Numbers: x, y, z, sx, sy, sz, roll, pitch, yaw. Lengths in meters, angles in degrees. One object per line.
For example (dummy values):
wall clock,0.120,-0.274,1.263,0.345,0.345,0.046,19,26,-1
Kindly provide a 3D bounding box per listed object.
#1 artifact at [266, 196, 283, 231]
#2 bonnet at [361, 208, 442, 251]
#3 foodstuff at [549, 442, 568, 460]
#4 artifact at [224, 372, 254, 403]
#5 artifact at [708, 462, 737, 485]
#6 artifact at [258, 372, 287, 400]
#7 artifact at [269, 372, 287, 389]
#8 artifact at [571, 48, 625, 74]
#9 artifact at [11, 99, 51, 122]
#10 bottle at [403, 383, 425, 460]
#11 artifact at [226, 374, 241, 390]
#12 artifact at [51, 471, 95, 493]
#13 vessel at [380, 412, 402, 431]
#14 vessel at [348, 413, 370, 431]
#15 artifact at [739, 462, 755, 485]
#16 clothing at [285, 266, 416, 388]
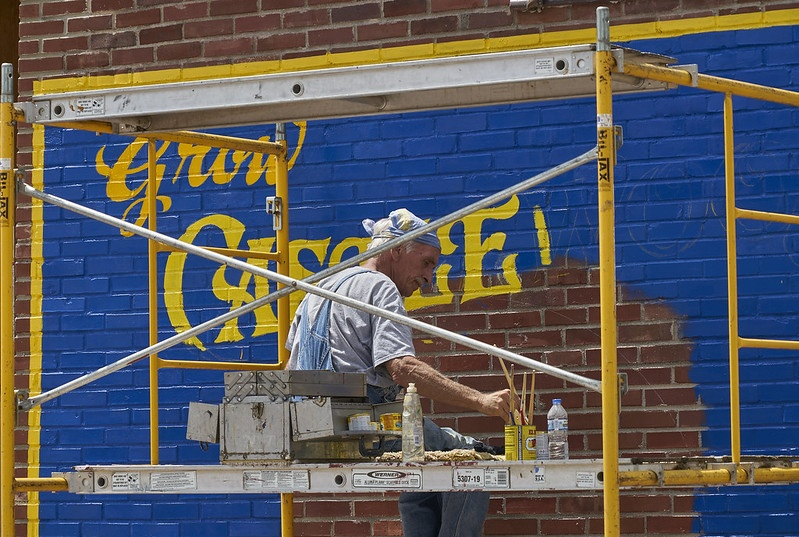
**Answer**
artifact,-0.826,-0.373,18.155,0.106,0.222,0.186,1,-8,-3
bonnet,-0.006,-0.260,17.585,0.391,0.192,0.283,-12,-21,-10
foodstuff,0.978,1.079,16.553,0.140,0.123,0.098,1,-12,5
artifact,-0.976,0.696,16.691,0.203,0.170,0.169,-7,0,26
artifact,1.953,1.212,16.522,0.139,0.109,0.051,2,-10,-3
artifact,-0.775,0.693,16.624,0.179,0.151,0.047,4,3,23
artifact,-0.731,0.658,16.627,0.107,0.091,0.026,2,0,25
artifact,1.148,-1.255,16.372,0.406,0.173,0.087,0,-8,4
artifact,-2.270,-0.989,17.012,0.191,0.084,0.138,-2,-4,34
bottle,0.086,0.908,16.687,0.131,0.479,0.226,0,-8,0
artifact,-1.022,0.664,16.705,0.093,0.076,0.023,3,-3,18
artifact,-1.963,1.276,16.851,0.264,0.112,0.140,1,-3,7
vessel,-0.048,0.925,16.918,0.116,0.079,0.110,0,-2,-5
vessel,-0.247,0.908,16.762,0.111,0.071,0.104,2,-4,-21
artifact,2.129,1.219,16.585,0.118,0.148,0.112,0,-3,11
clothing,-0.287,0.358,17.120,0.803,0.579,0.368,1,-4,45
